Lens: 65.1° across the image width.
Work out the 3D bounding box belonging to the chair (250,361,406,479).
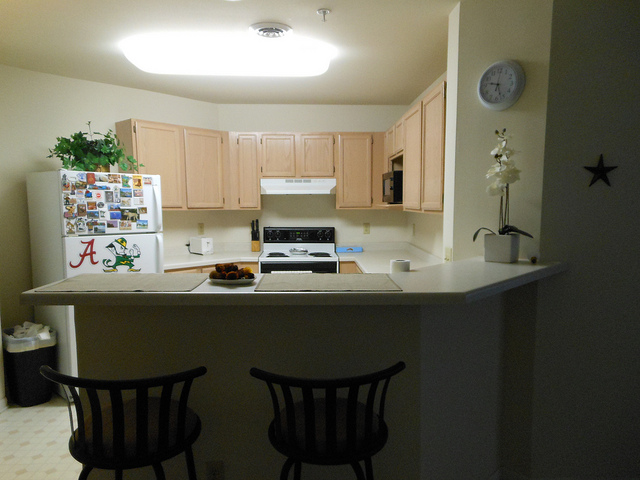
[{"bbox_3d":[0.033,0.663,2.574,0.723,0.791,0.631,-1,11,-2],"label":"chair"}]

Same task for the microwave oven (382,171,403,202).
[{"bbox_3d":[0.674,-0.508,4.697,0.220,0.305,0.397,0,3,1],"label":"microwave oven"}]

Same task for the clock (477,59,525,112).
[{"bbox_3d":[1.115,-0.974,3.113,0.066,0.285,0.274,0,-11,-35],"label":"clock"}]

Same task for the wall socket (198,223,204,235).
[{"bbox_3d":[-1.288,-0.138,5.466,0.022,0.120,0.067,0,5,41],"label":"wall socket"}]

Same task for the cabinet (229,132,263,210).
[{"bbox_3d":[-0.750,-0.765,5.417,0.332,0.789,0.387,8,13,-1],"label":"cabinet"}]

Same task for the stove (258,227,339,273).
[{"bbox_3d":[-0.216,0.241,5.330,0.826,0.793,0.562,-1,8,-7],"label":"stove"}]

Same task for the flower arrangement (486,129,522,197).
[{"bbox_3d":[1.096,-0.458,2.918,0.209,0.413,0.211,-1,-1,-15],"label":"flower arrangement"}]

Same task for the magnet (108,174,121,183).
[{"bbox_3d":[-1.710,-0.525,4.196,0.019,0.066,0.092,1,0,35],"label":"magnet"}]

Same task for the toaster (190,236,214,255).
[{"bbox_3d":[-1.230,0.047,5.238,0.156,0.216,0.289,4,-2,-41],"label":"toaster"}]

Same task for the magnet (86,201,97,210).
[{"bbox_3d":[-1.848,-0.290,4.069,0.078,0.030,0.091,4,34,-16],"label":"magnet"}]

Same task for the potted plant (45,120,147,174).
[{"bbox_3d":[-1.963,-0.855,4.440,0.581,0.532,0.748,0,5,41],"label":"potted plant"}]

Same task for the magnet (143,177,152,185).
[{"bbox_3d":[-1.508,-0.530,4.394,0.023,0.061,0.069,-3,0,37],"label":"magnet"}]

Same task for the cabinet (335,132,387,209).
[{"bbox_3d":[0.441,-0.696,5.452,0.566,0.873,0.462,1,-8,-5],"label":"cabinet"}]

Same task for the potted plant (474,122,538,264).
[{"bbox_3d":[1.121,-0.309,3.070,0.360,0.852,0.376,-2,4,18],"label":"potted plant"}]

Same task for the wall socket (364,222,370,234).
[{"bbox_3d":[0.533,-0.143,5.666,0.060,0.124,0.017,-5,4,-16],"label":"wall socket"}]

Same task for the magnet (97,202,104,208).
[{"bbox_3d":[-1.793,-0.302,4.115,0.045,0.048,0.011,6,1,-25],"label":"magnet"}]

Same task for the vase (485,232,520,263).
[{"bbox_3d":[1.069,0.040,2.971,0.171,0.180,0.178,0,2,8],"label":"vase"}]
